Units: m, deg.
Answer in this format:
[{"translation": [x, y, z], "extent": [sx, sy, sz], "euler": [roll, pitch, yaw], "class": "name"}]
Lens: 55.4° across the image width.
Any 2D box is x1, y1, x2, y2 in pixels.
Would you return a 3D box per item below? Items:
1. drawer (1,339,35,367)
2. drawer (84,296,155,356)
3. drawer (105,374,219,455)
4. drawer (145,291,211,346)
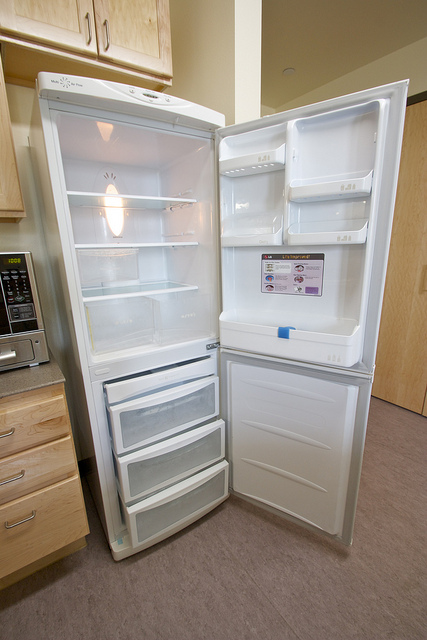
[{"translation": [-0.739, 0.122, 1.528], "extent": [0.078, 0.081, 0.117], "euler": [18, 25, 40], "class": "drawer"}, {"translation": [-0.353, 0.021, 1.570], "extent": [0.289, 0.203, 0.049], "euler": [-14, 16, -39], "class": "drawer"}, {"translation": [-0.199, 0.385, 1.660], "extent": [0.448, 0.218, 0.230], "euler": [-18, 25, -37], "class": "drawer"}, {"translation": [-0.185, -0.019, 1.885], "extent": [0.196, 0.272, 0.368], "euler": [-16, -1, 0], "class": "drawer"}]
